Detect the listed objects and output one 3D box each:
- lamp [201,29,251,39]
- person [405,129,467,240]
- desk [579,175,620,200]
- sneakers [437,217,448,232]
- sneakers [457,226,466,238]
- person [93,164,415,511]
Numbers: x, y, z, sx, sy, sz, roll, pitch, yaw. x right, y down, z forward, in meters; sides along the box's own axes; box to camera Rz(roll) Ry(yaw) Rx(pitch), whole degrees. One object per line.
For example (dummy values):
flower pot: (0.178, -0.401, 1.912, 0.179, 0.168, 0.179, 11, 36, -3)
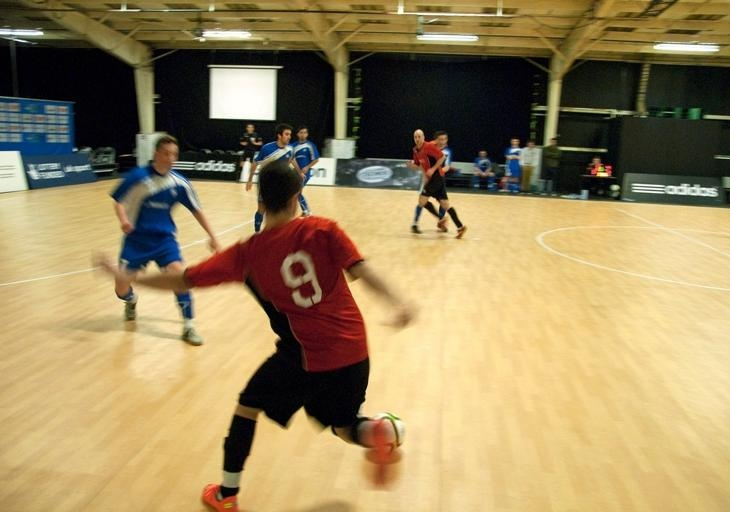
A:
lamp: (-4.950, -7.999, 18.517, 1.124, 0.220, 1.080, 6, 11, 27)
person: (1.427, -1.430, 10.304, 1.319, 2.064, 0.567, 11, 19, 27)
desk: (8.670, -2.514, 18.931, 1.289, 0.655, 1.196, 1, 9, 15)
sneakers: (1.645, -0.619, 10.859, 0.150, 0.155, 0.373, -2, -19, 4)
sneakers: (1.895, -0.475, 10.141, 0.117, 0.278, 0.119, -10, 47, -18)
person: (-0.412, 0.520, 2.827, 1.317, 2.040, 0.365, 3, 17, 3)
